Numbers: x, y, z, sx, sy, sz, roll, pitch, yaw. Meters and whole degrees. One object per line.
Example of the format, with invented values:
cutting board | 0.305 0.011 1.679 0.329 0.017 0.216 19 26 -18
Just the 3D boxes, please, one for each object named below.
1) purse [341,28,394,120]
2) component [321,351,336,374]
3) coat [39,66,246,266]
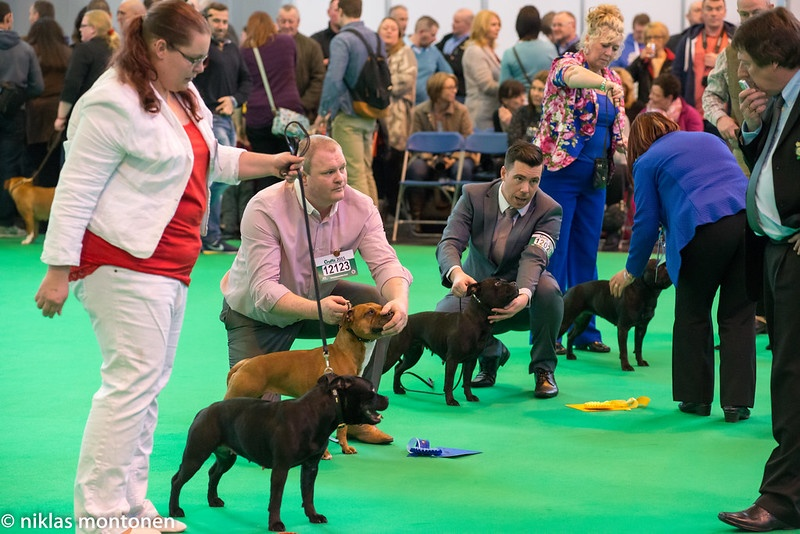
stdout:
purse | -0.370 -2.208 10.291 0.586 0.989 0.497 14 22 32
component | -0.376 0.501 4.759 0.090 0.134 0.045 -3 -8 3
coat | -1.192 -0.539 4.340 0.617 0.974 1.330 17 19 33
